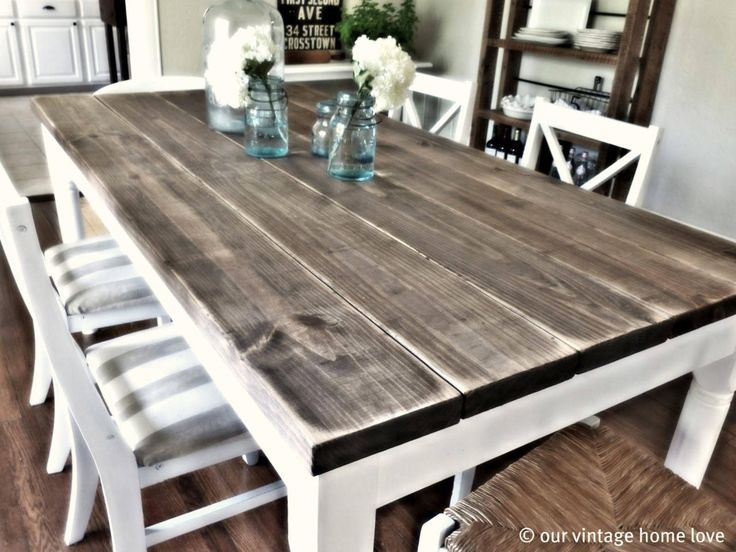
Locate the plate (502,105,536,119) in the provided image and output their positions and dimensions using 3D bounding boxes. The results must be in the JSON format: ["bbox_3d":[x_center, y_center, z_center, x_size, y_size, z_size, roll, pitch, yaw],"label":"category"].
[{"bbox_3d":[0.931,-1.003,3.174,0.176,0.038,0.161,7,29,1],"label":"plate"}]

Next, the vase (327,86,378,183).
[{"bbox_3d":[-0.042,-0.388,1.433,0.149,0.216,0.138,-5,28,-20],"label":"vase"}]

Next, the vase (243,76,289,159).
[{"bbox_3d":[-0.307,-0.472,1.555,0.192,0.197,0.176,-1,27,-10],"label":"vase"}]
